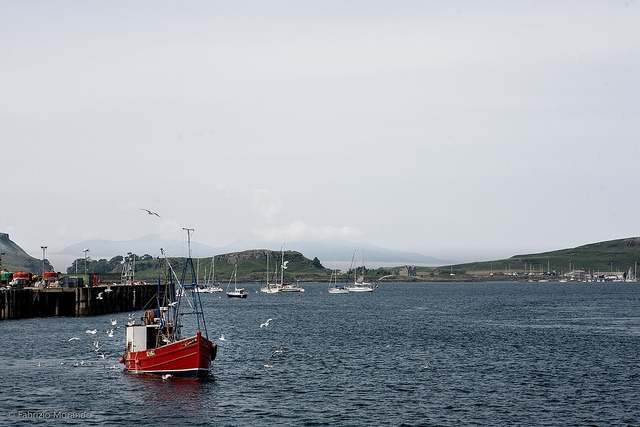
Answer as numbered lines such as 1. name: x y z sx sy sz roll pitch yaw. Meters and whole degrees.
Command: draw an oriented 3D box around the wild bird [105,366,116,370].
1. wild bird: -38.676 28.846 206.091 0.790 0.573 1.448 -9 -8 17
